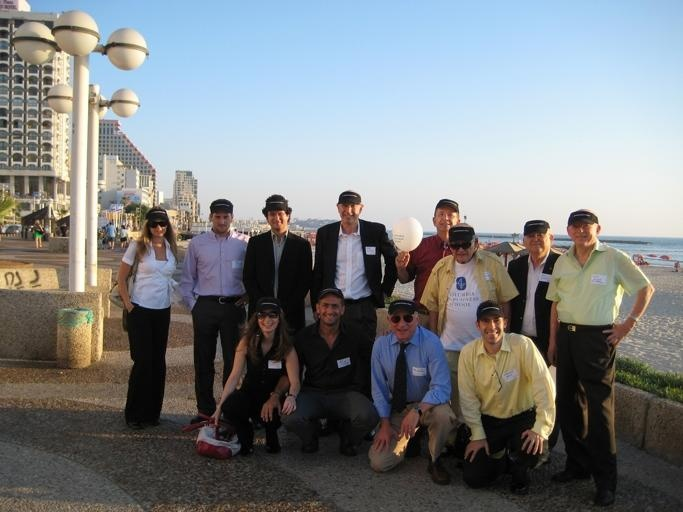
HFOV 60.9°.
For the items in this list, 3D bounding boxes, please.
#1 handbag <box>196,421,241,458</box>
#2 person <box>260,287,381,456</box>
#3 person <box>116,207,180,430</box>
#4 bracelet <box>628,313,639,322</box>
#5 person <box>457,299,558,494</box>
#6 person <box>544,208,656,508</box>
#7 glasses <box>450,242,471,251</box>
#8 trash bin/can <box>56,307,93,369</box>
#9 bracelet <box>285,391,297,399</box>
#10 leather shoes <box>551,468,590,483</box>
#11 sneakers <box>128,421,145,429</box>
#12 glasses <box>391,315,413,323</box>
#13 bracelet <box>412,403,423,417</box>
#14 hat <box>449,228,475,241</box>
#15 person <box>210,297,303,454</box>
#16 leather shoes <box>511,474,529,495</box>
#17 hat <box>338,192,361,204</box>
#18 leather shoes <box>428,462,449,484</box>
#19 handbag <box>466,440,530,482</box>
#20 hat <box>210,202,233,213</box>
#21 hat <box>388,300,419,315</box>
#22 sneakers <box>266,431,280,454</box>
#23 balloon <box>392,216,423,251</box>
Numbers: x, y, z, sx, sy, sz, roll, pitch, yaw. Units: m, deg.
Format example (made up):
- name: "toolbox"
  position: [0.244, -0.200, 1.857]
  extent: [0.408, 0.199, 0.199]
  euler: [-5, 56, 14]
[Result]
- name: "handbag"
  position: [-1.420, 2.110, 6.681]
  extent: [0.549, 0.264, 0.631]
  euler: [8, 13, -11]
- name: "person"
  position: [-0.121, 1.380, 7.043]
  extent: [1.321, 1.851, 0.972]
  euler: [1, 11, -4]
- name: "person"
  position: [-2.484, 0.734, 7.382]
  extent: [0.648, 2.679, 1.049]
  euler: [1, 8, -3]
- name: "bracelet"
  position: [3.062, 0.640, 6.085]
  extent: [0.080, 0.026, 0.086]
  euler: [11, -10, 15]
- name: "person"
  position: [1.798, 1.523, 6.357]
  extent: [1.070, 1.965, 1.037]
  euler: [-10, -6, 35]
- name: "person"
  position: [2.677, 0.982, 6.096]
  extent: [0.875, 2.860, 1.076]
  euler: [3, 9, 10]
- name: "glasses"
  position: [1.439, -0.125, 6.989]
  extent: [0.264, 0.119, 0.108]
  euler: [3, 9, 5]
- name: "trash bin/can"
  position: [-4.276, 1.306, 9.326]
  extent: [0.528, 0.928, 0.337]
  euler: [-3, 9, -26]
- name: "bracelet"
  position: [-0.583, 1.634, 6.863]
  extent: [0.116, 0.075, 0.172]
  euler: [2, 9, -1]
- name: "leather shoes"
  position: [2.457, 2.347, 6.323]
  extent: [0.448, 0.192, 0.151]
  euler: [5, -6, -4]
- name: "sneakers"
  position: [-2.511, 2.048, 7.113]
  extent: [0.144, 0.144, 0.086]
  euler: [-2, -4, 2]
- name: "glasses"
  position: [0.701, 0.709, 6.681]
  extent: [0.245, 0.114, 0.042]
  euler: [2, 8, 4]
- name: "bracelet"
  position: [0.813, 1.706, 6.486]
  extent: [0.093, 0.127, 0.136]
  euler: [-31, -11, -15]
- name: "hat"
  position: [1.430, -0.265, 6.869]
  extent: [0.303, 0.159, 0.429]
  euler: [-1, 0, 18]
- name: "person"
  position: [-0.963, 1.371, 6.841]
  extent: [0.949, 1.698, 0.649]
  euler: [1, 8, -5]
- name: "leather shoes"
  position: [1.845, 2.355, 6.090]
  extent: [0.120, 0.219, 0.208]
  euler: [8, -5, 17]
- name: "hat"
  position: [0.109, -0.748, 7.452]
  extent: [0.261, 0.180, 0.186]
  euler: [3, 9, 5]
- name: "leather shoes"
  position: [1.044, 2.301, 6.238]
  extent: [0.256, 0.189, 0.204]
  euler: [4, 9, 17]
- name: "handbag"
  position: [1.603, 2.166, 6.154]
  extent: [0.409, 0.285, 0.576]
  euler: [-1, -8, 10]
- name: "hat"
  position: [-1.544, -0.643, 7.485]
  extent: [0.261, 0.178, 0.167]
  euler: [0, 9, -9]
- name: "hat"
  position: [0.708, 0.593, 6.775]
  extent: [0.306, 0.187, 0.271]
  euler: [2, 9, -1]
- name: "sneakers"
  position: [-0.789, 2.148, 6.710]
  extent: [0.233, 0.230, 0.209]
  euler: [-2, -9, -4]
- name: "balloon"
  position: [0.789, -0.263, 6.968]
  extent: [0.425, 0.513, 0.425]
  euler: [4, 0, -4]
